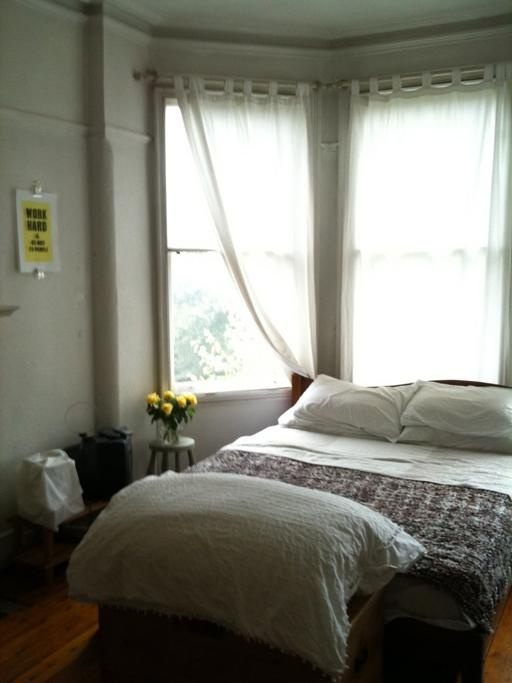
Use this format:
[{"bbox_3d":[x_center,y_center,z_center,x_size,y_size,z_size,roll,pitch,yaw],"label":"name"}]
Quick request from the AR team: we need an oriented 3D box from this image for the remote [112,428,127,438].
[{"bbox_3d":[-0.714,0.485,2.770,0.044,0.030,0.066,1,1,2],"label":"remote"}]

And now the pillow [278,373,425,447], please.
[{"bbox_3d":[0.503,0.378,2.931,0.419,0.154,0.418,-3,31,39],"label":"pillow"}]

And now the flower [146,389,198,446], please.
[{"bbox_3d":[-0.498,0.435,3.063,0.243,0.326,0.274,0,0,24],"label":"flower"}]

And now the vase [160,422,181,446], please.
[{"bbox_3d":[-0.479,0.525,2.969,0.092,0.139,0.106,0,2,-5],"label":"vase"}]

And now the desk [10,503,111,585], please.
[{"bbox_3d":[-0.938,0.908,2.484,0.337,0.251,0.397,2,4,24],"label":"desk"}]
